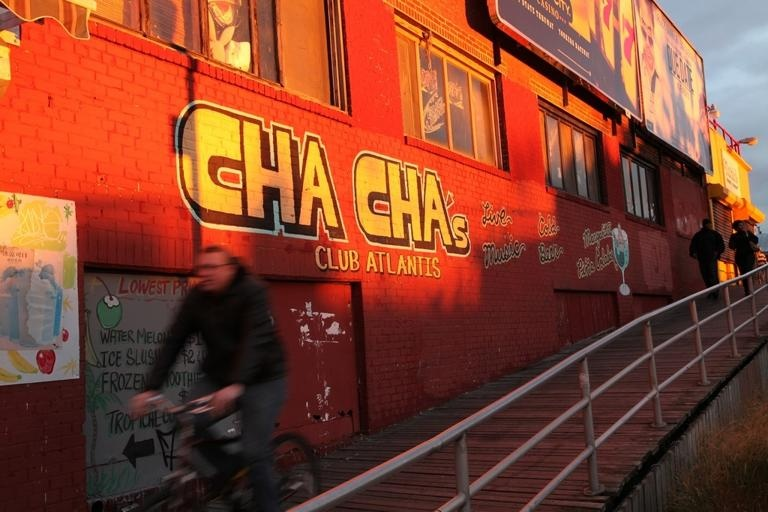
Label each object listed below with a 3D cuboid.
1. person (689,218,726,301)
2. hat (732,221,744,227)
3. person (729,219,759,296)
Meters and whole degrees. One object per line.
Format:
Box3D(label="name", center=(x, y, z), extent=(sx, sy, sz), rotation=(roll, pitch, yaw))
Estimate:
Box3D(label="person", center=(9.004, -0.096, 16.819), extent=(0.811, 1.920, 0.614), rotation=(-10, -9, 40))
Box3D(label="hat", center=(9.576, -0.857, 16.309), extent=(0.207, 0.197, 0.363), rotation=(-9, -8, 27))
Box3D(label="person", center=(9.725, -0.241, 16.327), extent=(0.664, 1.428, 1.362), rotation=(-9, -8, 33))
